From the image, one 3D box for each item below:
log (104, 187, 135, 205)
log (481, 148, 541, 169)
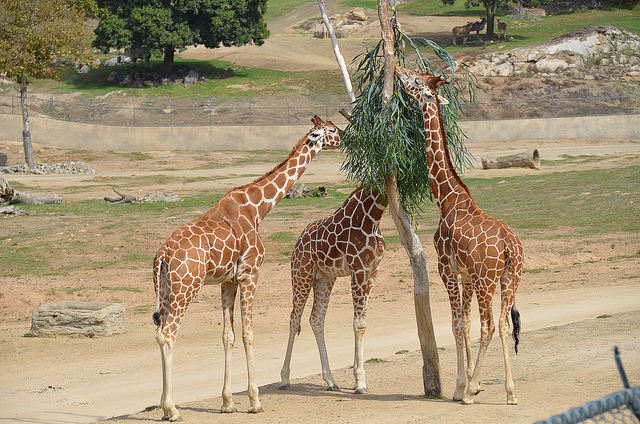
[{"bbox_3d":[-12.263,-1.025,75.263,1.591,0.819,1.302,-8,11,-30],"label":"log"},{"bbox_3d":[13.077,-3.513,82.873,4.099,1.443,1.608,-3,-22,22],"label":"log"}]
